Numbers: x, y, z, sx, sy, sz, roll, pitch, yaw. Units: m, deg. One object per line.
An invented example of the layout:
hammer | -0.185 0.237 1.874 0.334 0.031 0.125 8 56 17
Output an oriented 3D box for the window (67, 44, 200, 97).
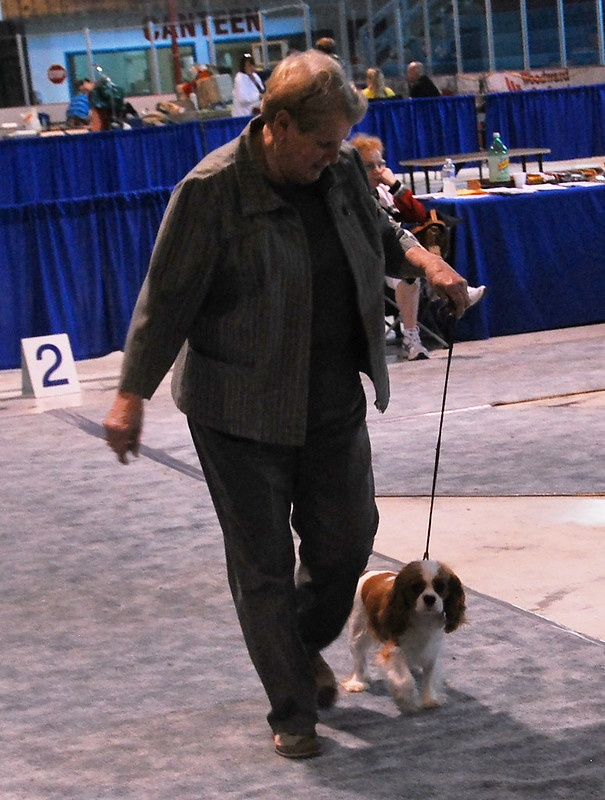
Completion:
window | -3.842 -7.409 19.545 3.791 1.335 0.057 7 23 33

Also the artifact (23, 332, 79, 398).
artifact | -2.290 -0.317 8.002 0.424 0.510 0.348 -10 11 -8

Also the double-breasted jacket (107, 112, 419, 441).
double-breasted jacket | -0.090 -0.264 2.064 0.753 0.738 0.379 -10 12 -11

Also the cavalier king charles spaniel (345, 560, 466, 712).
cavalier king charles spaniel | 0.273 0.647 2.516 0.259 0.395 0.589 4 -6 -17
